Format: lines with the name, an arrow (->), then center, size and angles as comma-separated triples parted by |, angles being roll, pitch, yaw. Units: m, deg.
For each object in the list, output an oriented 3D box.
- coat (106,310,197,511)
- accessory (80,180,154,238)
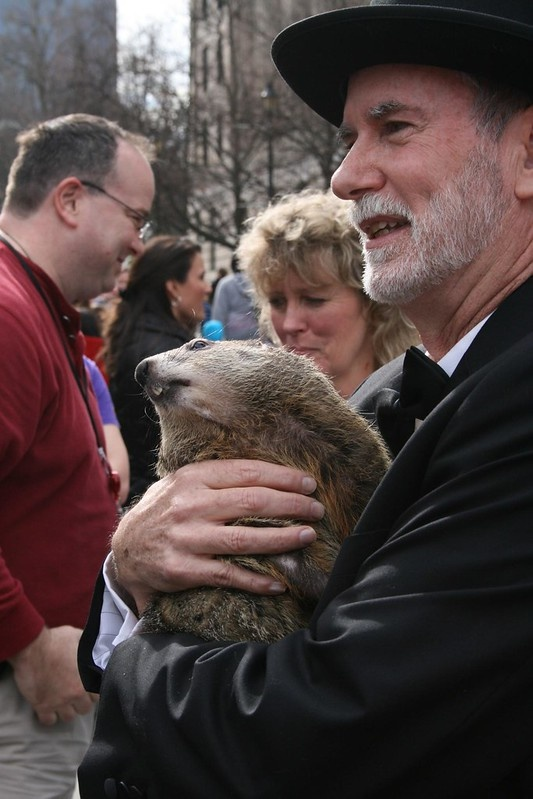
coat -> -0.503, -0.029, 5.244 | 0.399, 1.256, 0.693 | 5, -8, 2
accessory -> -0.580, -0.741, 3.623 | 0.197, 0.053, 0.193 | 31, 1, 16
